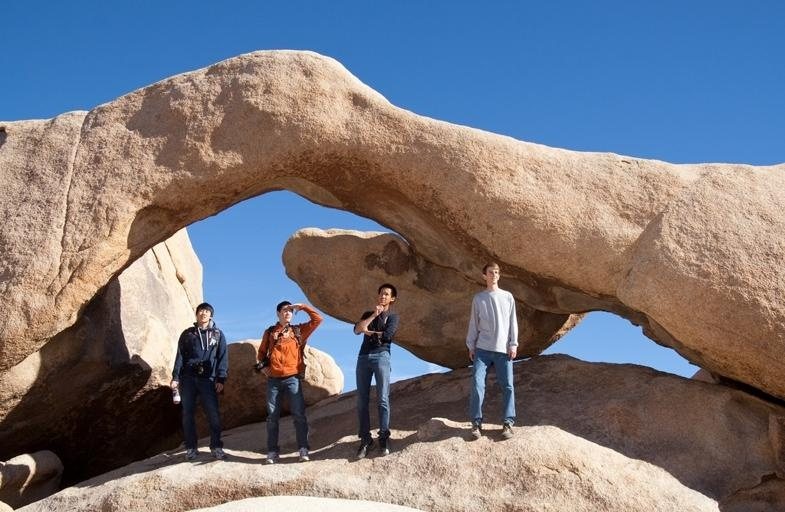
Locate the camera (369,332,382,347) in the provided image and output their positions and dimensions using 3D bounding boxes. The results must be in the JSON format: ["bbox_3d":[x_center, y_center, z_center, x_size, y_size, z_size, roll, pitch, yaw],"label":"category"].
[{"bbox_3d":[-0.234,1.170,11.777,0.134,0.206,0.070,6,-1,15],"label":"camera"}]

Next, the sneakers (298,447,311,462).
[{"bbox_3d":[-1.252,2.849,11.953,0.111,0.199,0.194,-2,-29,-1],"label":"sneakers"}]

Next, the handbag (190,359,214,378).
[{"bbox_3d":[-2.792,1.661,12.267,0.281,0.263,0.208,14,-13,-5],"label":"handbag"}]

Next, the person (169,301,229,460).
[{"bbox_3d":[-2.869,1.846,12.415,0.785,2.275,0.509,-1,-7,-17],"label":"person"}]

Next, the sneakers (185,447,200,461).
[{"bbox_3d":[-2.959,2.922,12.383,0.095,0.111,0.250,2,-3,0],"label":"sneakers"}]

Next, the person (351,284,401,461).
[{"bbox_3d":[-0.240,1.622,11.903,0.634,2.401,0.620,-1,-7,-17],"label":"person"}]

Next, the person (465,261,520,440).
[{"bbox_3d":[1.387,1.337,11.782,0.723,2.432,0.385,-4,-7,5],"label":"person"}]

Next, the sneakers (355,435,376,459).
[{"bbox_3d":[-0.402,2.706,11.845,0.132,0.184,0.371,-4,14,28],"label":"sneakers"}]

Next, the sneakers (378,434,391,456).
[{"bbox_3d":[-0.112,2.659,11.781,0.166,0.287,0.190,-3,-7,-2],"label":"sneakers"}]

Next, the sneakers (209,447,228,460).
[{"bbox_3d":[-2.555,2.891,12.272,0.105,0.126,0.242,2,-5,-28],"label":"sneakers"}]

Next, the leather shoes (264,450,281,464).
[{"bbox_3d":[-1.732,2.875,11.994,0.189,0.166,0.203,-3,-7,-9],"label":"leather shoes"}]

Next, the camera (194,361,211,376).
[{"bbox_3d":[-2.764,1.644,12.296,0.211,0.210,0.213,5,1,40],"label":"camera"}]

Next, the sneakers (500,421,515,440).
[{"bbox_3d":[1.631,2.446,11.783,0.250,0.241,0.156,1,-8,-33],"label":"sneakers"}]

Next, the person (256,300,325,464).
[{"bbox_3d":[-1.509,1.812,12.080,0.852,2.258,0.567,-2,-7,-9],"label":"person"}]
